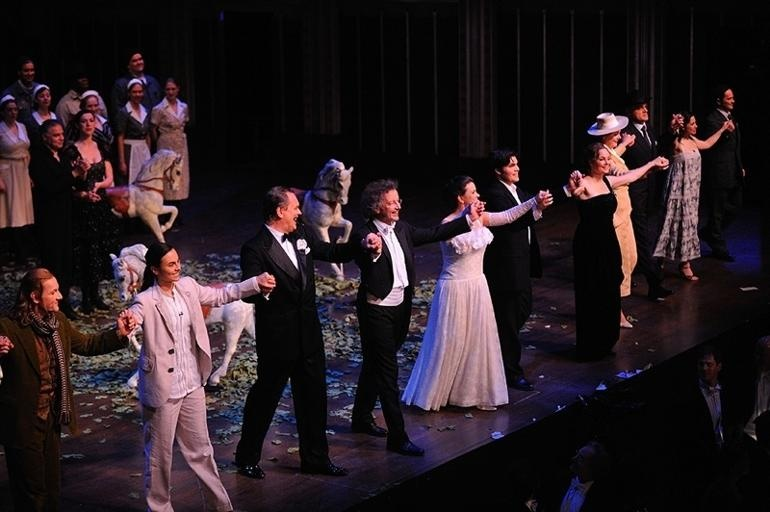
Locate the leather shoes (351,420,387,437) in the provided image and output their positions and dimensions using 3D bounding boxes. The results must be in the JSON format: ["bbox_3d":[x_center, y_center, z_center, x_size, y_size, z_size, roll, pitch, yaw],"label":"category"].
[{"bbox_3d":[-0.131,1.359,5.232,0.309,0.122,0.102,4,8,18],"label":"leather shoes"}]

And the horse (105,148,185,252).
[{"bbox_3d":[-3.524,-0.789,8.721,1.622,1.228,0.408,-5,18,-42],"label":"horse"}]

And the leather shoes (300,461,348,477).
[{"bbox_3d":[-0.429,1.495,4.674,0.344,0.132,0.114,-1,3,8],"label":"leather shoes"}]

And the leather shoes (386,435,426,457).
[{"bbox_3d":[0.136,1.407,4.894,0.321,0.118,0.107,1,8,22],"label":"leather shoes"}]

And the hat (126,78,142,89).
[{"bbox_3d":[-3.706,-2.562,9.784,0.193,0.079,0.206,0,31,-5],"label":"hat"}]

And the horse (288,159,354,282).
[{"bbox_3d":[-1.012,-0.566,9.206,0.472,1.468,2.217,-5,9,-31],"label":"horse"}]

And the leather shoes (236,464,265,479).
[{"bbox_3d":[-0.934,1.491,4.623,0.161,0.145,0.088,3,6,16],"label":"leather shoes"}]

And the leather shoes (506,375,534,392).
[{"bbox_3d":[1.183,1.130,5.840,0.210,0.082,0.095,3,10,29],"label":"leather shoes"}]

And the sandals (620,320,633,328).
[{"bbox_3d":[2.537,0.725,7.016,0.186,0.062,0.133,-3,-27,20],"label":"sandals"}]

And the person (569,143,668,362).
[{"bbox_3d":[1.991,-0.026,6.285,0.618,2.050,0.297,-5,10,-19],"label":"person"}]

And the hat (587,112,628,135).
[{"bbox_3d":[2.335,-1.394,6.965,0.361,0.240,0.431,1,9,20],"label":"hat"}]

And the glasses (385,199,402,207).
[{"bbox_3d":[0.067,-0.388,4.881,0.072,0.067,0.221,1,9,15],"label":"glasses"}]

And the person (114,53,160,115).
[{"bbox_3d":[-3.842,-2.715,10.218,0.493,0.838,0.919,12,26,28],"label":"person"}]
